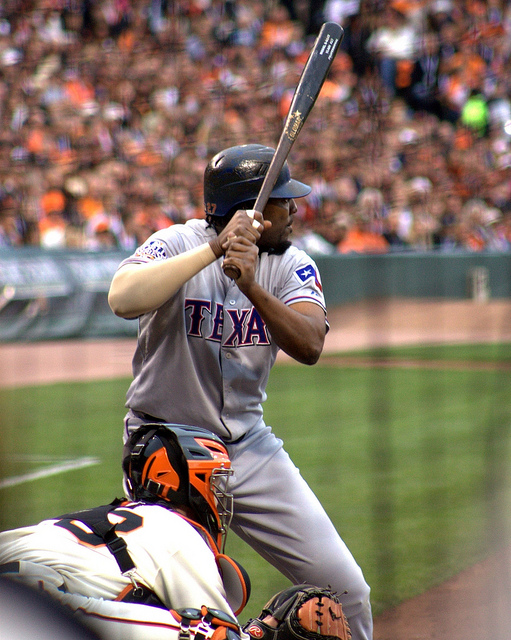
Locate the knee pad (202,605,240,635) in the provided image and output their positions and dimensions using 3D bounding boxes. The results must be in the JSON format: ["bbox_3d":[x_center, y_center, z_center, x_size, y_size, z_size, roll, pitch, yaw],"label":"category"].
[{"bbox_3d":[-0.107,0.888,3.292,0.103,0.033,0.078,23,-1,20],"label":"knee pad"}]

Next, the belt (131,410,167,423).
[{"bbox_3d":[-0.385,0.350,3.950,0.141,0.035,0.023,13,34,30],"label":"belt"}]

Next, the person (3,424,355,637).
[{"bbox_3d":[-0.341,0.714,3.398,1.015,0.654,0.642,-10,13,-34],"label":"person"}]
